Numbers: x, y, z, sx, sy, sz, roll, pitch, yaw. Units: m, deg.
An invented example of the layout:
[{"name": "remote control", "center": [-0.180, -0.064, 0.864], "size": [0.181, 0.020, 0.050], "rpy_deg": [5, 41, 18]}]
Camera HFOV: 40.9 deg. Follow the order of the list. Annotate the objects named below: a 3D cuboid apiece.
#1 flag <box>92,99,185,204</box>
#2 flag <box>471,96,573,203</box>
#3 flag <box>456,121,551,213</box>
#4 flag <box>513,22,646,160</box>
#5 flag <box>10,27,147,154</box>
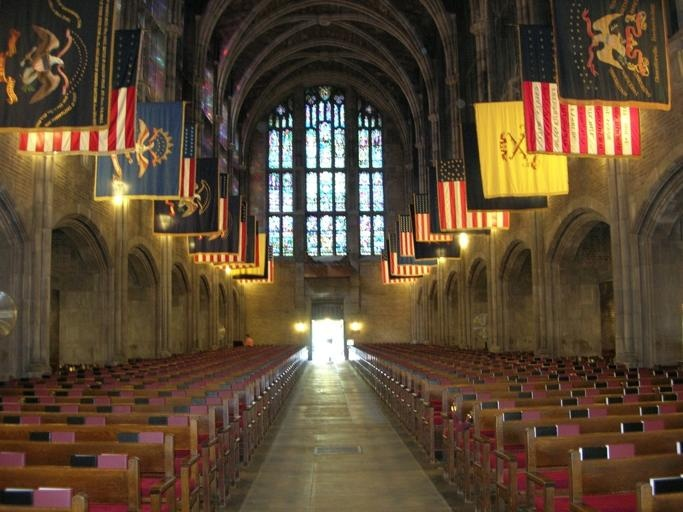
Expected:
[{"name": "flag", "center": [-4.757, -2.481, 21.607], "size": [2.147, 2.718, 0.123], "rpy_deg": [2, 7, 3]}, {"name": "flag", "center": [4.307, -2.493, 21.738], "size": [2.411, 2.889, 0.317], "rpy_deg": [-1, -4, 1]}, {"name": "flag", "center": [4.112, -2.214, 22.743], "size": [2.293, 2.807, 0.205], "rpy_deg": [-1, -6, 2]}, {"name": "flag", "center": [5.025, -3.419, 18.899], "size": [2.916, 3.546, 0.237], "rpy_deg": [2, -8, -8]}, {"name": "flag", "center": [-5.370, -3.356, 18.408], "size": [2.313, 2.755, 0.135], "rpy_deg": [3, 0, 14]}]
